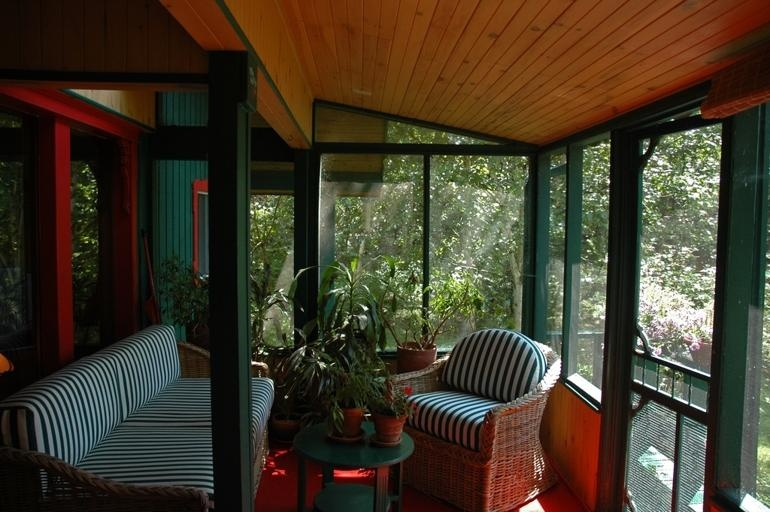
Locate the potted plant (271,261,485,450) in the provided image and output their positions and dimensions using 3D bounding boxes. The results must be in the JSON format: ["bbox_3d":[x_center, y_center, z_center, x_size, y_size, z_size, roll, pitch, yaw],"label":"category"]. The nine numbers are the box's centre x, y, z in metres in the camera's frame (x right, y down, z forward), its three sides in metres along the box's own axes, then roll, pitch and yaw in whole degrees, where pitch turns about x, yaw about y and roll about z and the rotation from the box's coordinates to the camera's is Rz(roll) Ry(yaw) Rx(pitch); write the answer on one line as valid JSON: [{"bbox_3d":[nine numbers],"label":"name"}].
[{"bbox_3d":[-0.115,0.656,4.764,1.675,1.558,1.306,3,-2,45],"label":"potted plant"}]
